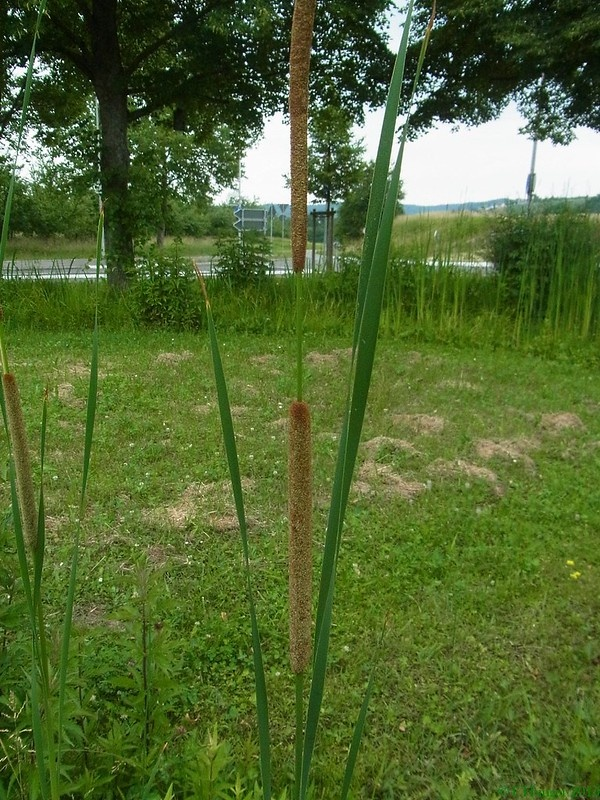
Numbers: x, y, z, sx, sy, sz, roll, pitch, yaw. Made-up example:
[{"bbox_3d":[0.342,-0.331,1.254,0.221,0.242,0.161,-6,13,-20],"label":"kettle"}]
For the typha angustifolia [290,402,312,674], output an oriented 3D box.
[{"bbox_3d":[-0.001,0.207,1.016,0.037,0.427,0.063,2,11,0],"label":"typha angustifolia"}]
